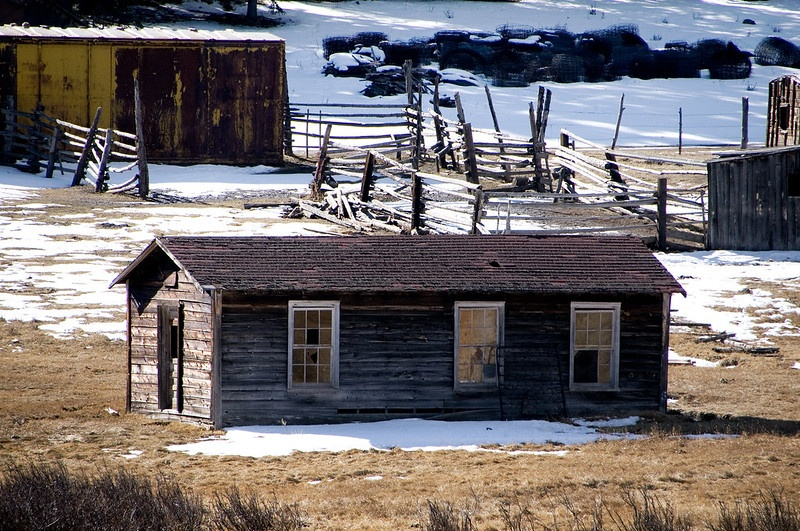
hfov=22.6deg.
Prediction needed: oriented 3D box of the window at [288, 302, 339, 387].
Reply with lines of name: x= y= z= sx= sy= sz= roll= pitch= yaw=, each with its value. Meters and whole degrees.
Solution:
window: x=-3.312 y=3.017 z=75.035 sx=1.884 sy=3.226 sz=0.745 roll=0 pitch=-3 yaw=-3
